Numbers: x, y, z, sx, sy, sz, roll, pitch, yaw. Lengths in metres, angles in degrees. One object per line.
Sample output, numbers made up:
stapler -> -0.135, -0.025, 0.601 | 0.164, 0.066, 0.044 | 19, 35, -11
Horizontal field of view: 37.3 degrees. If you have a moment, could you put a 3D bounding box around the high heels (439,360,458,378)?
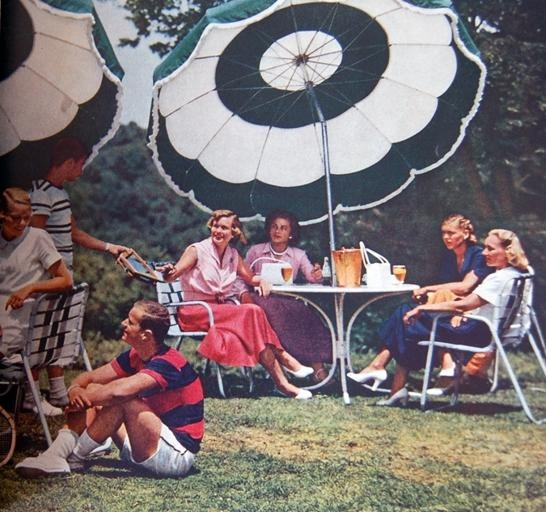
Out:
high heels -> 1.240, 0.812, 5.726 | 0.101, 0.103, 0.078 | 7, -8, -41

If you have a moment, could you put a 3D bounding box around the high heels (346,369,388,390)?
high heels -> 0.688, 0.900, 5.905 | 0.224, 0.145, 0.079 | 22, -4, 2

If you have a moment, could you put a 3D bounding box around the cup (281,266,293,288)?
cup -> 0.105, 0.141, 5.813 | 0.093, 0.189, 0.112 | -1, -16, 2

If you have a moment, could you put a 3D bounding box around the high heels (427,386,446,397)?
high heels -> 1.164, 0.962, 5.746 | 0.123, 0.052, 0.069 | 9, -11, -35

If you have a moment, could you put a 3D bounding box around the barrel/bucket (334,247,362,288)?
barrel/bucket -> 0.503, 0.090, 5.647 | 0.218, 0.319, 0.226 | 0, -13, 0

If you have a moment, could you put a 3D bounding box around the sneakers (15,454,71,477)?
sneakers -> -1.353, 1.243, 4.780 | 0.258, 0.138, 0.142 | 7, -41, -2

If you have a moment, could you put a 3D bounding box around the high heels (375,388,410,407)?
high heels -> 0.823, 0.999, 5.745 | 0.274, 0.183, 0.101 | -3, -4, 22

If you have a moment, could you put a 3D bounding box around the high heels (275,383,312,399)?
high heels -> 0.145, 0.942, 5.774 | 0.258, 0.085, 0.104 | 0, 4, 28

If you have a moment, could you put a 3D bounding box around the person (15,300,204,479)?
person -> -0.928, 0.775, 4.851 | 1.039, 1.161, 0.598 | 11, -9, -34

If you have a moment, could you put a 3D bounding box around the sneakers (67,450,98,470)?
sneakers -> -1.145, 1.212, 4.835 | 0.114, 0.125, 0.108 | -9, -10, 38

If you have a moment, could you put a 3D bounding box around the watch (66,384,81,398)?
watch -> -1.166, 0.780, 4.695 | 0.063, 0.059, 0.071 | -1, -14, -3

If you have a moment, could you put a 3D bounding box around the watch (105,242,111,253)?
watch -> -1.209, -0.066, 5.923 | 0.050, 0.060, 0.057 | -1, -13, 7

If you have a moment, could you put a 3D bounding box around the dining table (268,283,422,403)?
dining table -> 0.550, 0.559, 5.979 | 0.838, 0.739, 0.904 | -6, -16, 26
